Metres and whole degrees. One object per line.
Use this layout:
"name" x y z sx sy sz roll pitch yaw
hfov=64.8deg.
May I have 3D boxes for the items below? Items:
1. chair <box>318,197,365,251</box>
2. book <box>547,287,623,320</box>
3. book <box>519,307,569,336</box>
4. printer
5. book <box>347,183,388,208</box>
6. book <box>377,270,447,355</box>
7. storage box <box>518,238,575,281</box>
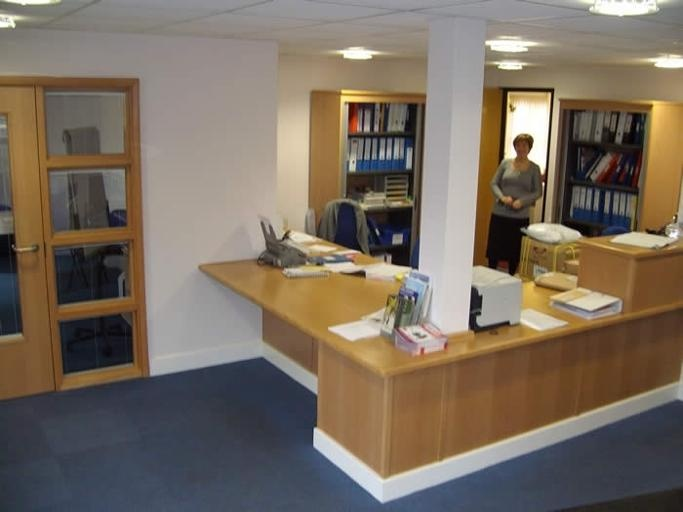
"chair" 0.020 -0.512 7.200 0.664 0.859 0.603 3 12 2
"book" 1.988 0.368 4.309 0.288 0.094 0.294 -14 22 -26
"book" 1.524 0.491 4.105 0.179 0.031 0.202 -9 23 -23
"printer" 1.139 0.317 3.954 0.402 0.355 0.405 -9 16 -30
"book" 0.391 -0.975 7.986 0.423 0.207 0.427 -7 15 -34
"book" 0.488 0.384 3.704 0.360 0.472 0.388 -7 13 -21
"storage box" 2.203 0.018 5.841 0.429 0.531 0.511 -10 19 -26
